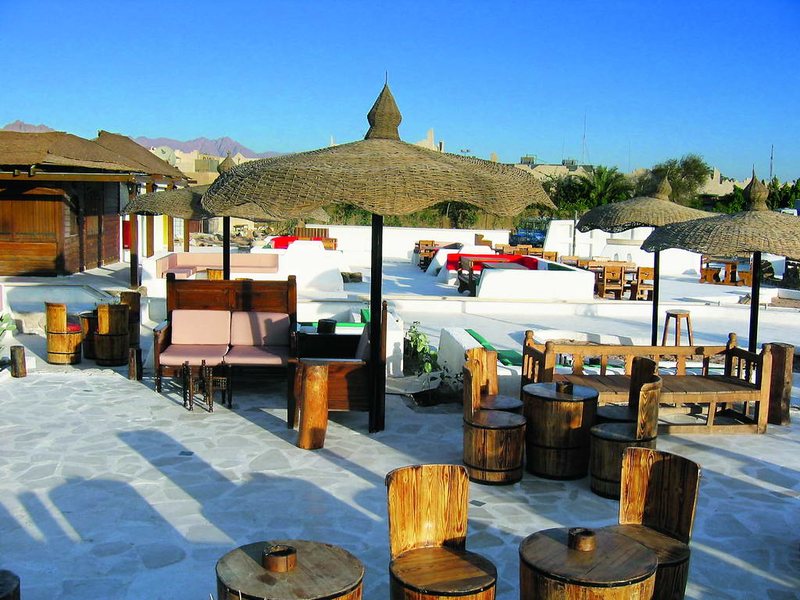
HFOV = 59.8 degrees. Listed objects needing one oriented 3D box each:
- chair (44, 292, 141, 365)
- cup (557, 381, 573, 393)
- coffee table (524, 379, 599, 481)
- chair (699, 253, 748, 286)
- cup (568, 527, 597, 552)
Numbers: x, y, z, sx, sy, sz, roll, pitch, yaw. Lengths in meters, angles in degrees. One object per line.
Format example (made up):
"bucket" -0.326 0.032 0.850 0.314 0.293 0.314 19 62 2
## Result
"chair" -4.977 0.402 11.354 1.692 1.158 1.221 0 3 -9
"cup" 1.685 0.892 7.120 0.123 0.094 0.122 0 -2 0
"coffee table" 1.631 1.349 7.363 0.889 0.967 0.915 0 2 -23
"chair" 11.703 -1.033 25.147 1.332 0.845 1.332 4 10 24
"cup" 1.132 1.462 4.292 0.131 0.081 0.132 1 -2 0
